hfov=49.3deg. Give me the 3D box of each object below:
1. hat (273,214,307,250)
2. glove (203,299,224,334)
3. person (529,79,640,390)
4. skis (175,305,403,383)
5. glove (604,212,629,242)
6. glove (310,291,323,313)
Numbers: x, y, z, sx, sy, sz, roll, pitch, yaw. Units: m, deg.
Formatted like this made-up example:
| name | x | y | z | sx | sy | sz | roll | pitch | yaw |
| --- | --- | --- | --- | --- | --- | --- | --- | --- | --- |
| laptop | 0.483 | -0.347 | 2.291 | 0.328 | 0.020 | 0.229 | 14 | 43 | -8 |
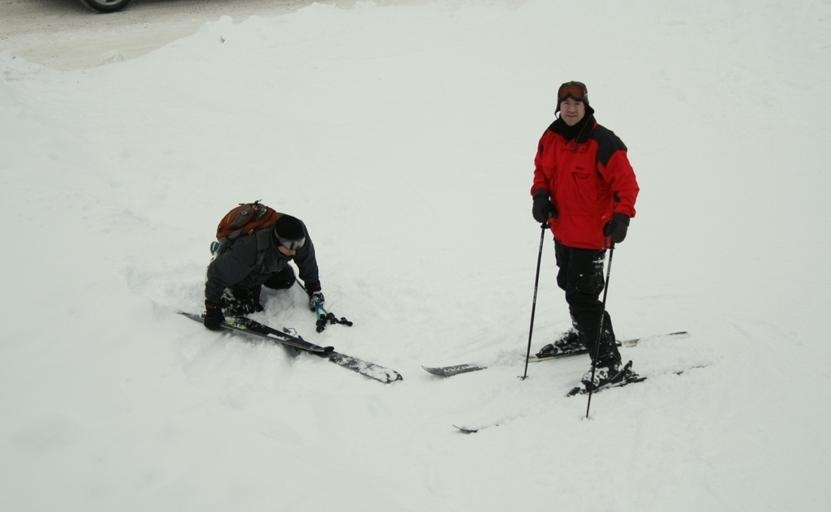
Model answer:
| name | x | y | z | sx | sy | sz | roll | pitch | yaw |
| --- | --- | --- | --- | --- | --- | --- | --- | --- | --- |
| hat | -1.628 | -0.301 | 11.606 | 0.384 | 0.450 | 0.242 | -1 | 14 | -10 |
| glove | -2.642 | 0.809 | 11.819 | 0.328 | 0.514 | 0.323 | 1 | -2 | -6 |
| person | 2.036 | -0.239 | 11.093 | 1.323 | 3.700 | 0.442 | 9 | 16 | 27 |
| skis | -1.746 | 1.185 | 11.749 | 2.278 | 0.176 | 0.267 | 17 | 37 | 8 |
| glove | 2.317 | -0.349 | 10.517 | 0.296 | 0.441 | 0.153 | 8 | -10 | 16 |
| glove | -1.342 | 0.618 | 12.219 | 0.151 | 0.278 | 0.121 | 3 | -7 | 5 |
